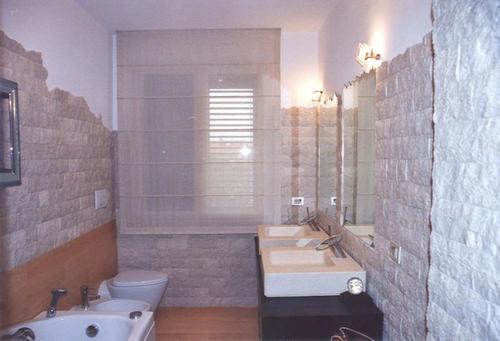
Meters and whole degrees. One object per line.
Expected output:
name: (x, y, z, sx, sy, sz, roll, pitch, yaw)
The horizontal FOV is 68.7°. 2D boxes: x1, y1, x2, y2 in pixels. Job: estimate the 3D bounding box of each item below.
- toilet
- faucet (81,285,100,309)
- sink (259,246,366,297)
toilet: (-1.016, 1.057, 3.224, 0.539, 0.237, 0.323, 1, 5, -5)
faucet: (-1.236, 0.947, 2.827, 0.125, 0.200, 0.314, -4, 3, -24)
sink: (0.410, 0.656, 2.419, 0.650, 0.193, 0.495, -2, 2, 1)
